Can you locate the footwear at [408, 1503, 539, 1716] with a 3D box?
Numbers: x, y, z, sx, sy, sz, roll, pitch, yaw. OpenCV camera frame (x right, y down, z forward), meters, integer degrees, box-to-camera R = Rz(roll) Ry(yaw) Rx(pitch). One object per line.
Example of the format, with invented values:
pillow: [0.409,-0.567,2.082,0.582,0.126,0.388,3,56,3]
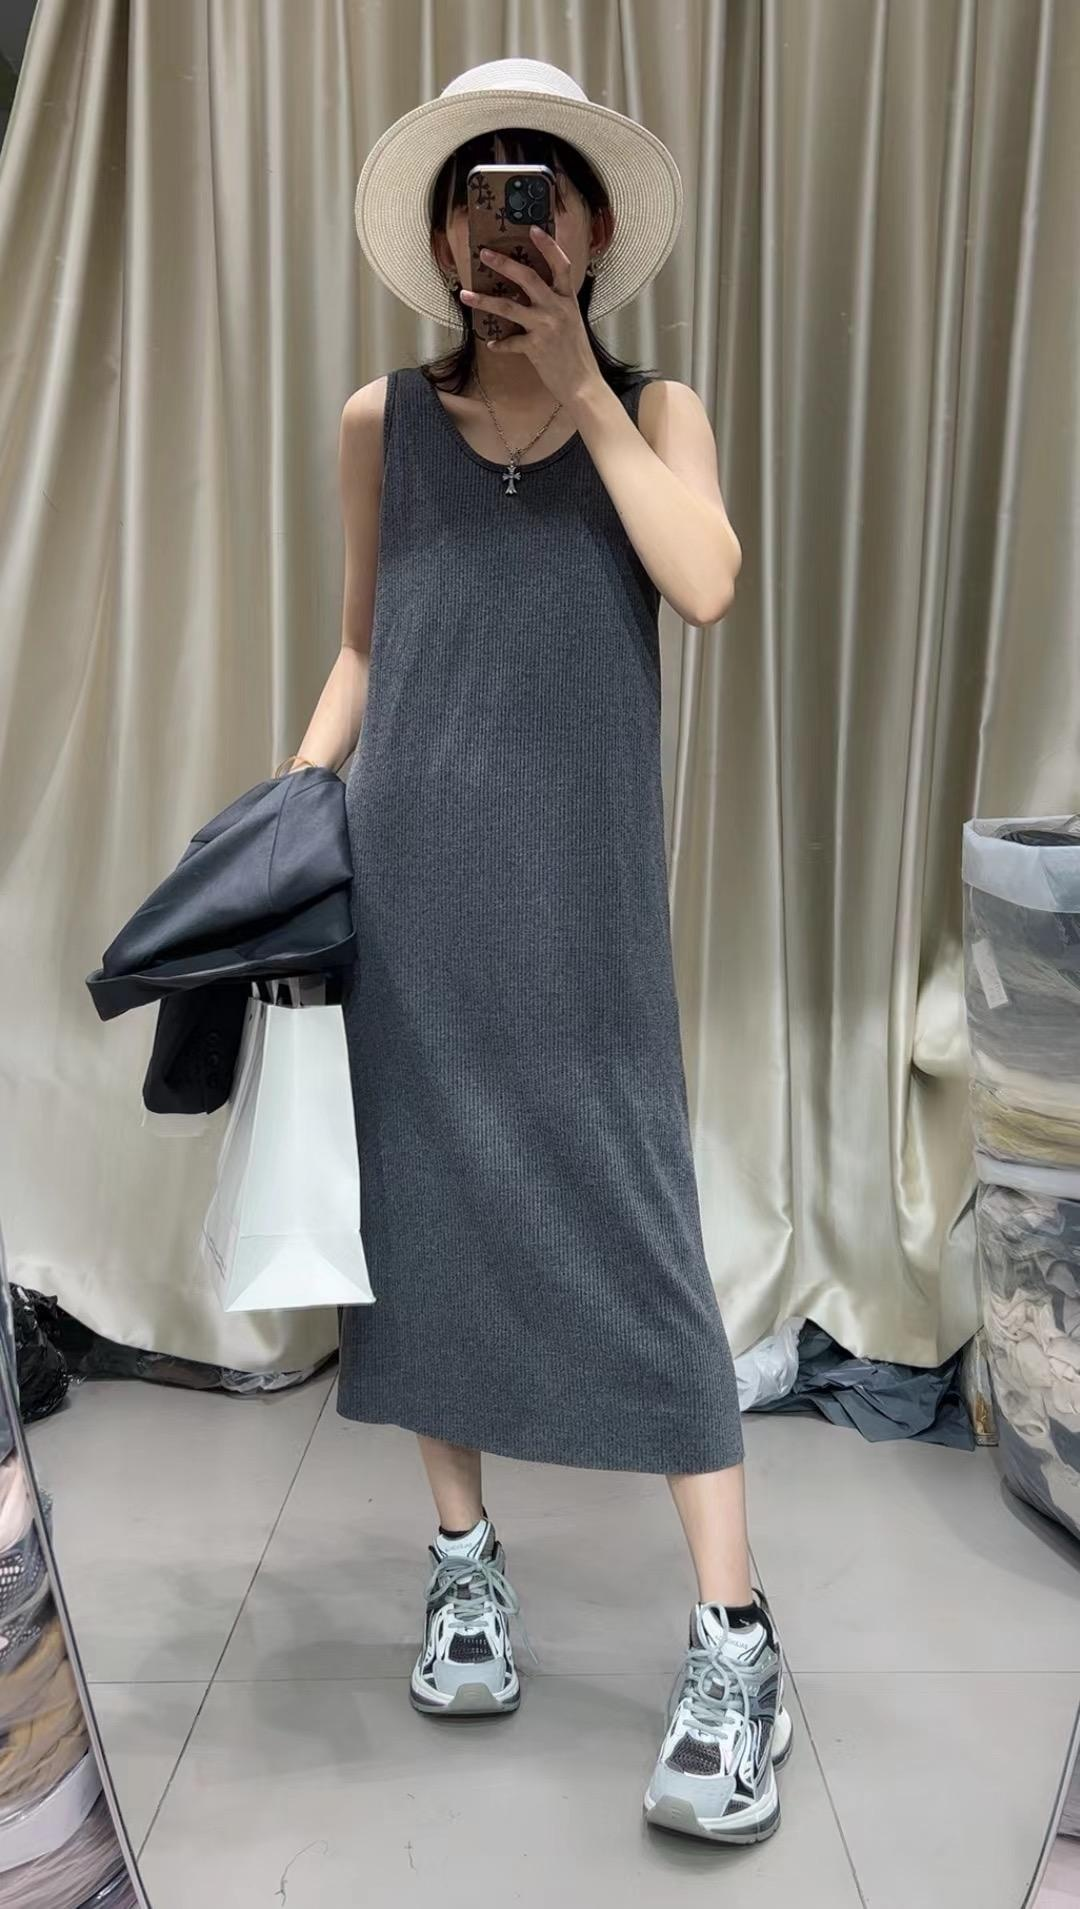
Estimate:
footwear: [-0.059,0.515,1.208,0.091,0.129,0.174,-2,14,-12]

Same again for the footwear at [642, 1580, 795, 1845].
footwear: [0.128,0.529,1.083,0.132,0.118,0.210,0,2,9]

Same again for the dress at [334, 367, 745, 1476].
dress: [0.000,-0.034,1.093,0.279,0.815,0.188,3,1,11]
